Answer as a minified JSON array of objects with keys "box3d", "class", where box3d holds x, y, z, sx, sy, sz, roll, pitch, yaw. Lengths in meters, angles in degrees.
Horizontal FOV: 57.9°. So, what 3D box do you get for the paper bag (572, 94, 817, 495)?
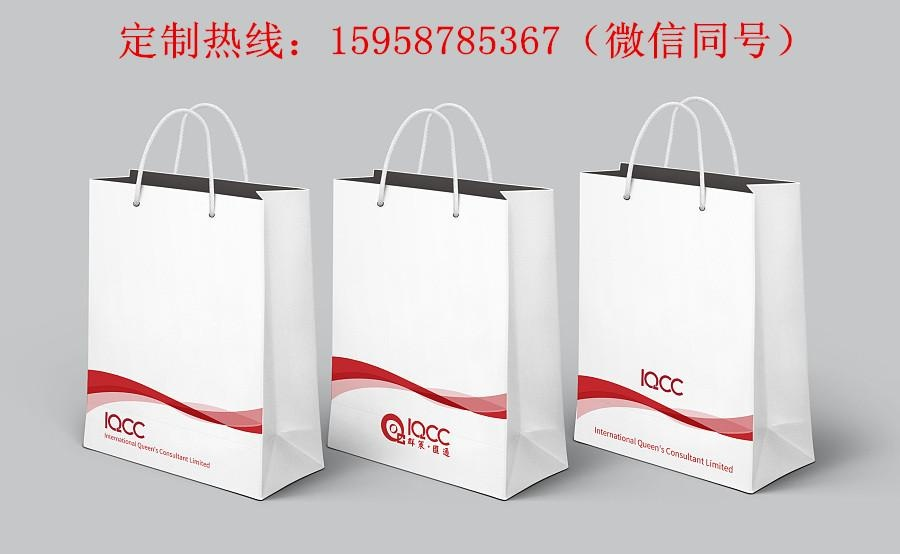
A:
[{"box3d":[0.952,0.042,3.171,0.945,1.402,0.354,9,14,32],"class":"paper bag"}]
